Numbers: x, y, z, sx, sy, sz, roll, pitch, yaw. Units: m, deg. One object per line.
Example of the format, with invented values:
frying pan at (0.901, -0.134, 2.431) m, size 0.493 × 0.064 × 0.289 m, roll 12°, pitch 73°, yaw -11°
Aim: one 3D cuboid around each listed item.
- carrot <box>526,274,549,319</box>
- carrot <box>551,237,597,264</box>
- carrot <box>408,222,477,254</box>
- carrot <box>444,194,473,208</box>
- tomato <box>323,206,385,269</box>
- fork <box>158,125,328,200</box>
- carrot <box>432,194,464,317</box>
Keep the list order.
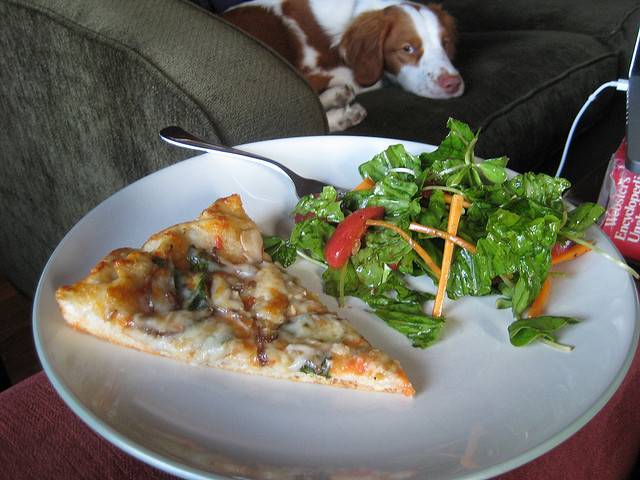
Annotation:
carrot at (0.473, 0.123, 1.177) m, size 0.013 × 0.023 × 0.091 m, roll 23°, pitch 72°, yaw 8°
carrot at (0.576, 0.025, 1.225) m, size 0.087 × 0.013 × 0.018 m, roll -29°, pitch 58°, yaw 3°
carrot at (0.291, -0.009, 1.278) m, size 0.105 × 0.019 × 0.027 m, roll 28°, pitch 62°, yaw 20°
carrot at (0.335, -0.092, 1.311) m, size 0.039 × 0.011 × 0.041 m, roll 16°, pitch 20°, yaw -27°
tomato at (0.095, -0.016, 1.302) m, size 0.104 × 0.053 × 0.184 m, roll 25°, pitch 53°, yaw 36°
fork at (-0.214, -0.208, 1.473) m, size 0.431 × 0.053 × 0.070 m, roll 21°, pitch 38°, yaw -2°
carrot at (0.298, 0.041, 1.253) m, size 0.027 × 0.028 × 0.282 m, roll 15°, pitch 78°, yaw -15°
